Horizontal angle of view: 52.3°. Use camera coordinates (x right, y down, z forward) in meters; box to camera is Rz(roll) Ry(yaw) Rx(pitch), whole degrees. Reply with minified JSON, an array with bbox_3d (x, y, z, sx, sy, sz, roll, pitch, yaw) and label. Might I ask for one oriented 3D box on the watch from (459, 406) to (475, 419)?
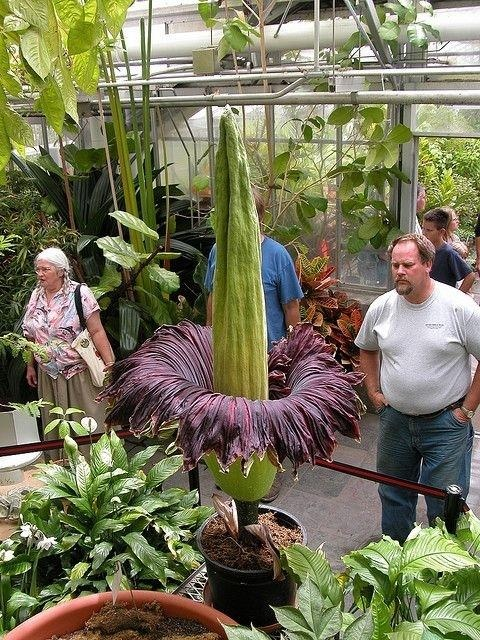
[{"bbox_3d":[0.937,0.396,2.014,0.055,0.036,0.059,22,-19,38],"label":"watch"}]
